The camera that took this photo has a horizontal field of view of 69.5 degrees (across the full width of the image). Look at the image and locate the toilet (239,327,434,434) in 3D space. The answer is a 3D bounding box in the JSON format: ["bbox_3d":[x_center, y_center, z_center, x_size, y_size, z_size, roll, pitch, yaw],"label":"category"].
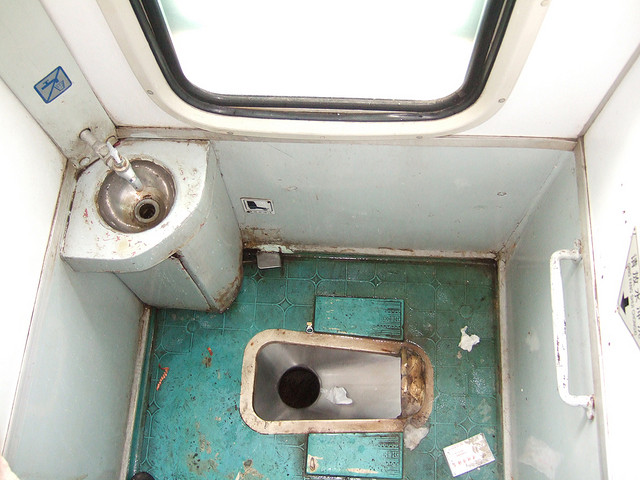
[{"bbox_3d":[0.093,0.773,2.588,0.849,0.376,0.562,3,86,-1],"label":"toilet"}]

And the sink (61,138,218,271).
[{"bbox_3d":[-0.706,-0.146,1.830,0.485,0.184,0.565,4,67,4],"label":"sink"}]

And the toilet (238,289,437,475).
[{"bbox_3d":[0.102,0.799,2.583,1.052,0.350,0.953,6,67,5],"label":"toilet"}]
